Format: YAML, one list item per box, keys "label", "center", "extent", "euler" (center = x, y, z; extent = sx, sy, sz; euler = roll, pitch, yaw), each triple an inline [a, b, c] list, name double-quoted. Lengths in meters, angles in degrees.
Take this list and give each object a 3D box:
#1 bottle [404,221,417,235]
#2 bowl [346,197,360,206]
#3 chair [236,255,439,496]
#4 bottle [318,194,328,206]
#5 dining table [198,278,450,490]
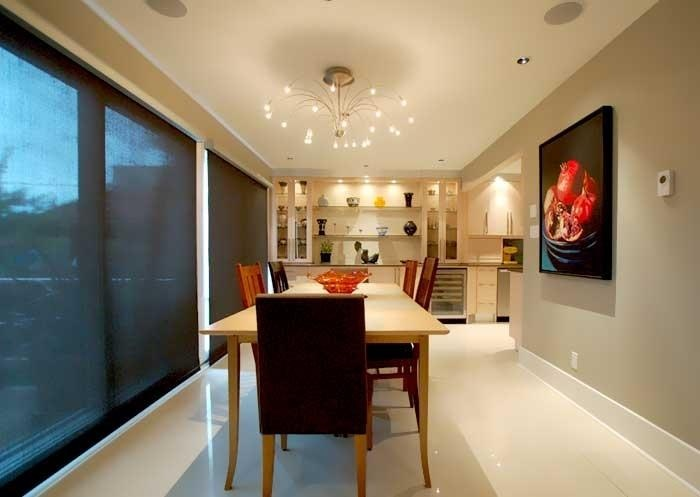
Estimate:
- label: "bottle"
  center: [0.935, -0.321, 7.472]
  extent: [0.178, 0.231, 0.193]
  euler: [-1, 3, 0]
- label: "bowl"
  center: [0.067, -0.728, 7.458]
  extent: [0.128, 0.091, 0.132]
  euler: [0, 6, 0]
- label: "chair"
  center: [-0.176, 0.717, 3.989]
  extent: [1.223, 1.922, 1.445]
  euler: [3, 0, 1]
- label: "bottle"
  center: [-0.420, -0.746, 7.466]
  extent: [0.126, 0.139, 0.128]
  euler: [-1, 6, -36]
- label: "dining table"
  center: [0.059, 0.884, 4.107]
  extent: [1.665, 1.474, 3.468]
  euler: [0, -2, 1]
